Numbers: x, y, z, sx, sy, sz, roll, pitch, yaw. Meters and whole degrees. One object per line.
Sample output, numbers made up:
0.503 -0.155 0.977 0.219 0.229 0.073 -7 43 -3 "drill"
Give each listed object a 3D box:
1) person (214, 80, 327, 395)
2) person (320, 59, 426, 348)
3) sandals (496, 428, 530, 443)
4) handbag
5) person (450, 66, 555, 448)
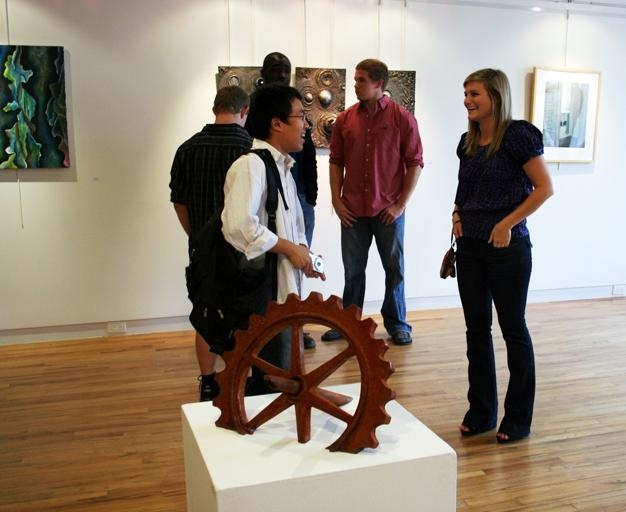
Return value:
-0.196 -0.282 2.465 0.476 0.981 0.348 -5 9 -27 "person"
0.526 -0.400 4.520 0.764 2.331 0.480 0 8 1 "person"
1.083 0.965 2.942 0.193 0.095 0.069 4 11 -16 "sandals"
-0.456 0.081 2.673 0.353 0.653 0.466 10 -3 -35 "handbag"
1.006 -0.005 2.928 0.513 2.008 0.335 3 9 24 "person"
